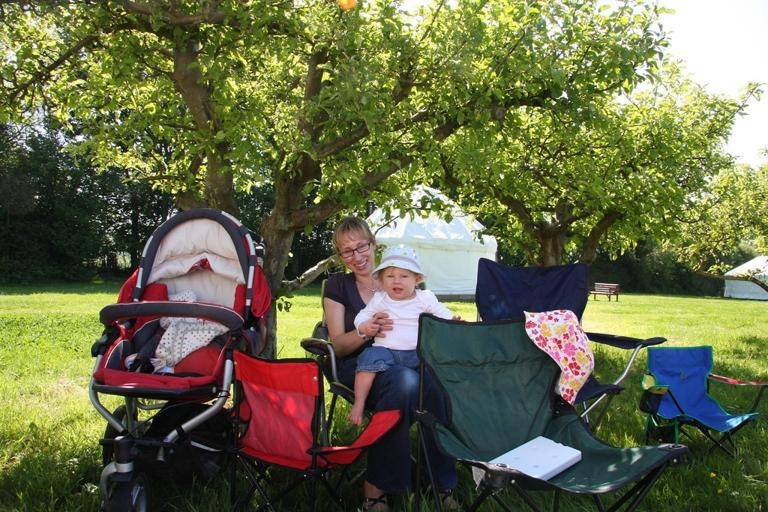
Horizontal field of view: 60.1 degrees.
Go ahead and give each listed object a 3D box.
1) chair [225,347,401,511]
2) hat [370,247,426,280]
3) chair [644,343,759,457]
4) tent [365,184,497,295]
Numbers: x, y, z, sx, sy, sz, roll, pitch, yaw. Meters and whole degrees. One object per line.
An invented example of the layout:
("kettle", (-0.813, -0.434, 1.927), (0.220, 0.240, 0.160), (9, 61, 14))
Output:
("chair", (-0.662, 1.316, 5.816), (1.614, 1.562, 1.192), (-1, -7, 27))
("hat", (0.155, -0.009, 6.003), (0.378, 0.203, 0.361), (11, 9, 42))
("chair", (3.045, 1.425, 6.509), (0.709, 1.047, 0.987), (4, -5, -4))
("tent", (1.912, -0.197, 18.780), (2.645, 2.577, 2.737), (0, 1, 27))
